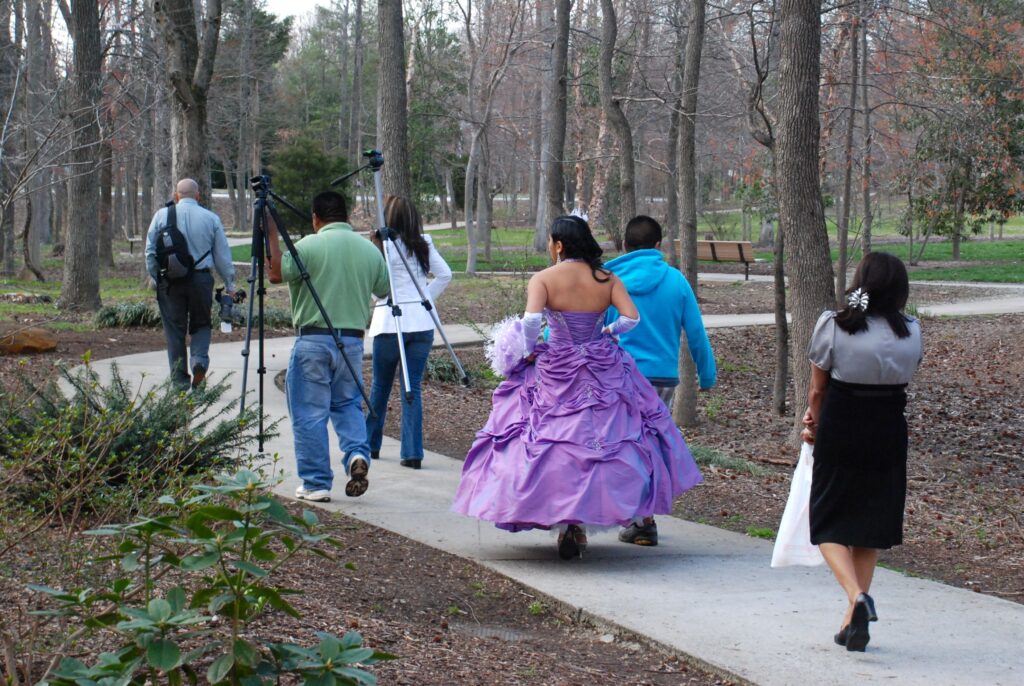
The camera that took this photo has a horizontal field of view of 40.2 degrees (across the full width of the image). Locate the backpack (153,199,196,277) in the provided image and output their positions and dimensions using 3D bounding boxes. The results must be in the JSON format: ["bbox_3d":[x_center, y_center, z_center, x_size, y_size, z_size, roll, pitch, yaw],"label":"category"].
[{"bbox_3d":[-4.231,-1.140,17.467,0.412,0.704,0.684,-2,0,-2],"label":"backpack"}]

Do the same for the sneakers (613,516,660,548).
[{"bbox_3d":[1.321,1.922,14.445,0.206,0.203,0.403,-1,3,-36],"label":"sneakers"}]

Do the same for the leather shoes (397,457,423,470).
[{"bbox_3d":[-1.136,1.359,16.036,0.102,0.150,0.203,-3,10,-32],"label":"leather shoes"}]

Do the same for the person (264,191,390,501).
[{"bbox_3d":[-1.915,0.018,14.753,1.178,3.214,0.950,-4,7,-29],"label":"person"}]

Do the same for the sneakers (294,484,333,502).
[{"bbox_3d":[-2.061,1.539,14.505,0.322,0.171,0.158,6,-1,13],"label":"sneakers"}]

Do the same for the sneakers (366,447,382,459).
[{"bbox_3d":[-1.600,1.278,16.285,0.165,0.174,0.174,0,-9,5],"label":"sneakers"}]

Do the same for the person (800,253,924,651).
[{"bbox_3d":[3.123,0.670,12.635,0.973,2.930,0.567,0,6,13],"label":"person"}]

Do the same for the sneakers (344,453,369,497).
[{"bbox_3d":[-1.620,1.385,14.655,0.189,0.495,0.209,4,15,-7],"label":"sneakers"}]
